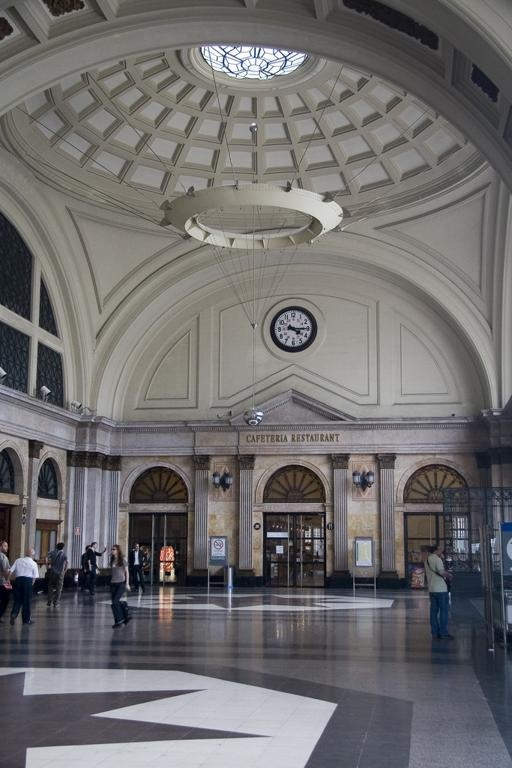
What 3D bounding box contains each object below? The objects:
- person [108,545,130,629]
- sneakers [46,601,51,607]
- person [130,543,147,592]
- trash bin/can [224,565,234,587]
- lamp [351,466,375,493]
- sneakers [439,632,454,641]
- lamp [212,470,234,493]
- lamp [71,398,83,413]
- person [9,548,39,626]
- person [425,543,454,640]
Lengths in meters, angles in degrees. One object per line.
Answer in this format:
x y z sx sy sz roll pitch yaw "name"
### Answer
-2.636 3.905 11.356 0.367 1.527 0.839 2 -11 -13 "person"
-5.580 5.930 15.884 0.079 0.122 0.569 3 -11 -19 "sneakers"
-4.396 6.829 21.706 0.470 1.591 2.970 2 -11 -11 "person"
-1.020 7.303 22.241 0.315 0.789 0.774 0 -11 -1 "trash bin/can"
4.077 3.653 22.315 0.891 1.134 0.333 1 -10 -1 "lamp"
3.088 4.088 9.506 0.254 0.068 0.198 3 -11 -20 "sneakers"
-1.320 3.807 23.092 1.019 1.132 0.675 4 -17 -12 "lamp"
-6.696 0.847 22.107 0.371 0.398 0.588 -3 -11 15 "lamp"
-4.974 4.327 12.575 0.503 1.564 1.865 3 -11 -21 "person"
3.094 3.503 9.998 0.367 1.485 0.952 -3 -11 15 "person"
